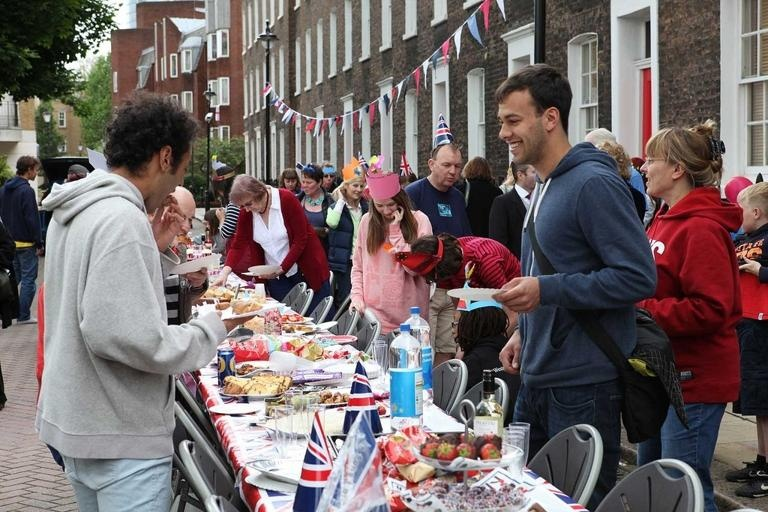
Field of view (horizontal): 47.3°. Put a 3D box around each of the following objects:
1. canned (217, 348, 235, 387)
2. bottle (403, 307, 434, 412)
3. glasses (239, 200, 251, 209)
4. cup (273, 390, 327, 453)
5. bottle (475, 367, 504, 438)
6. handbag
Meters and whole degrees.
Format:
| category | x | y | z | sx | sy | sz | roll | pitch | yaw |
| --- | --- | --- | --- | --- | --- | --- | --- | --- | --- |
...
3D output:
| category | x | y | z | sx | sy | sz | roll | pitch | yaw |
| --- | --- | --- | --- | --- | --- | --- | --- | --- | --- |
| canned | -1.080 | 0.750 | 5.986 | 0.105 | 0.282 | 0.106 | 5 | 18 | 10 |
| bottle | 0.255 | 0.627 | 5.556 | 0.193 | 0.595 | 0.225 | 4 | -7 | -25 |
| glasses | -1.446 | -0.539 | 9.140 | 0.112 | 0.106 | 0.159 | -4 | -7 | -1 |
| cup | -0.518 | 0.887 | 4.919 | 0.257 | 0.363 | 0.228 | 12 | 13 | 44 |
| bottle | 0.557 | 0.832 | 4.656 | 0.134 | 0.463 | 0.137 | 1 | 1 | 0 |
| handbag | 1.674 | 0.650 | 5.430 | 0.497 | 1.006 | 0.856 | 0 | 3 | 11 |
